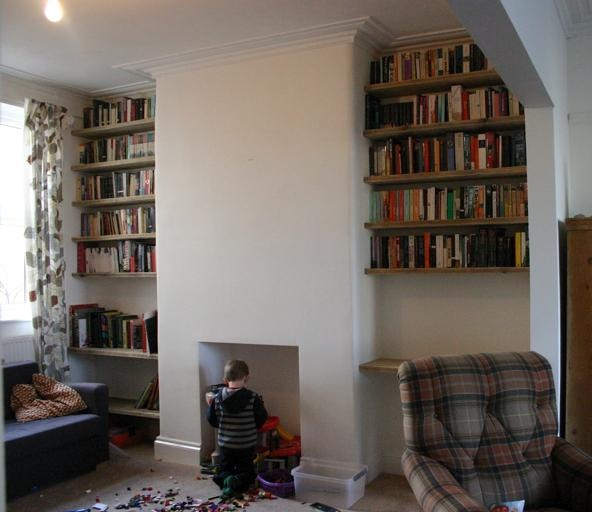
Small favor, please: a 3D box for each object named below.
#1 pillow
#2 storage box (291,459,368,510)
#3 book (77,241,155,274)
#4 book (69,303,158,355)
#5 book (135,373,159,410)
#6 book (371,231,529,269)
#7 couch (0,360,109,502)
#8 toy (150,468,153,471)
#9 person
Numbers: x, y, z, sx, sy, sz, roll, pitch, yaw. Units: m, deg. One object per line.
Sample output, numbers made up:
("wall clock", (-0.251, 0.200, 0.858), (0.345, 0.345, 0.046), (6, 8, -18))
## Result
("pillow", (-1.885, 1.082, 4.008), (0.315, 0.111, 0.314), (-4, 16, -45))
("storage box", (0.217, 1.493, 3.528), (0.369, 0.171, 0.254), (-1, -2, 23))
("book", (-1.543, 0.011, 4.692), (0.916, 0.275, 0.271), (-1, -1, 37))
("book", (-1.537, 0.626, 4.655), (0.951, 0.369, 0.350), (-1, -1, 31))
("book", (-1.223, 1.142, 4.531), (0.083, 0.284, 0.203), (14, -8, -4))
("book", (0.998, -0.045, 3.628), (1.053, 0.255, 0.099), (-1, -1, 29))
("couch", (-1.820, 1.246, 3.849), (0.507, 0.722, 0.902), (-1, -1, 27))
("toy", (-1.086, 1.618, 4.018), (0.015, 0.014, 0.010), (-6, -9, 30))
("person", (-0.405, 1.164, 3.706), (0.340, 0.861, 0.347), (0, -1, -31))
